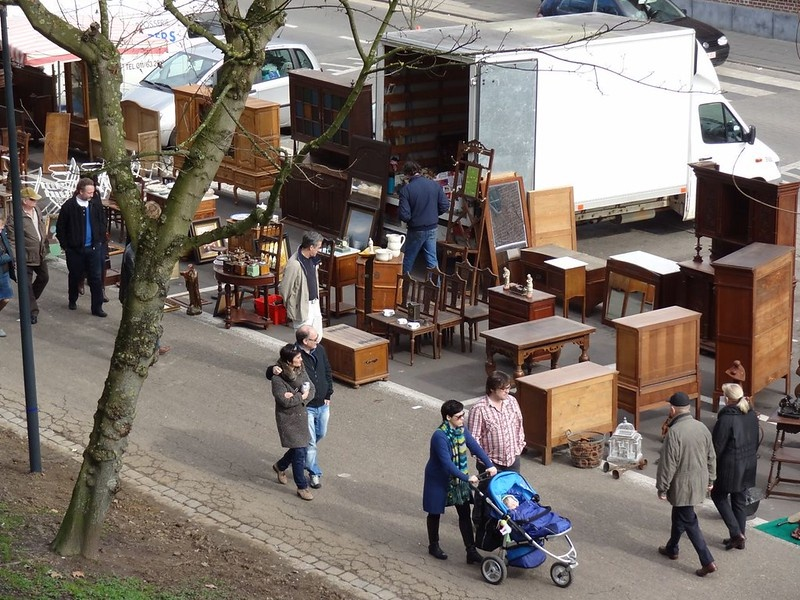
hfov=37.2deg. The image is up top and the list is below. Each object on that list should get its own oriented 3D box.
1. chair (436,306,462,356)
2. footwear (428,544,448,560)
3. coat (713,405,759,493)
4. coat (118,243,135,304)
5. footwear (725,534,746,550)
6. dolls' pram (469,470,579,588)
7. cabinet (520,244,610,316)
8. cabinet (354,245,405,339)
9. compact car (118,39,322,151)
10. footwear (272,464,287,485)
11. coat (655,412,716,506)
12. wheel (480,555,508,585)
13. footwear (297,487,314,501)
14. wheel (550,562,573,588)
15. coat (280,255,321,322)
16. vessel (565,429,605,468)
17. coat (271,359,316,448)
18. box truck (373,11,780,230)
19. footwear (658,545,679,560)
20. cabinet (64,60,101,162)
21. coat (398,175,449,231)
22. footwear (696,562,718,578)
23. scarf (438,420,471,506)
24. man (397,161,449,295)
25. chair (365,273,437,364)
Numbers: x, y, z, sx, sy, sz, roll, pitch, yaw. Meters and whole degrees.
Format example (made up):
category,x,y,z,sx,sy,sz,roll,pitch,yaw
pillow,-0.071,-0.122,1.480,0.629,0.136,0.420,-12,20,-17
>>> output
category,x,y,z,sx,sy,sz,roll,pitch,yaw
chair,0.754,0.529,18.124,0.492,0.636,0.665,-4,11,-17
footwear,0.427,2.850,13.321,0.251,0.184,0.110,5,11,37
coat,3.833,1.719,13.540,0.616,0.997,0.231,3,5,-15
coat,-3.929,-0.300,17.294,0.215,0.935,0.429,-2,-24,-12
footwear,3.806,2.801,13.571,0.115,0.114,0.260,-24,11,-20
dolls' pram,1.420,2.526,13.047,1.154,1.144,0.864,6,8,34
cabinet,2.772,-0.472,19.442,0.942,0.907,1.719,-16,27,-27
cabinet,-0.311,-0.072,18.775,0.726,1.253,0.644,2,22,8
compact car,-3.776,-4.374,26.727,4.479,1.954,2.389,-13,25,-38
footwear,-1.466,2.197,14.682,0.110,0.269,0.127,-19,7,20
coat,3.202,1.794,13.200,0.639,1.022,0.348,5,5,9
wheel,1.034,2.964,12.935,0.245,0.254,0.095,-28,-14,31
footwear,-1.107,2.358,14.372,0.096,0.118,0.246,-15,20,-42
wheel,1.767,3.012,12.923,0.212,0.217,0.083,41,30,27
coat,-1.400,-0.112,16.647,0.535,1.037,0.294,4,5,-7
vessel,2.370,1.927,15.243,0.416,0.328,0.463,-1,3,3
coat,-1.275,1.288,14.037,0.436,0.952,0.208,2,6,-22
box truck,3.850,-3.256,22.941,6.831,3.632,3.208,-9,17,-23
footwear,3.037,2.883,13.441,0.098,0.109,0.233,-18,30,-23
cabinet,-7.112,-4.210,25.930,0.592,2.118,0.738,-1,8,11
coat,0.403,-1.565,19.778,0.827,0.786,0.473,-9,23,-20
footwear,3.400,3.003,13.124,0.103,0.136,0.275,-39,10,-32
scarf,0.615,1.820,13.036,0.421,0.948,0.279,4,5,-6
man,0.396,-1.184,19.984,0.815,2.317,0.734,-4,24,-7
chair,0.016,0.335,17.876,0.628,1.187,1.053,-8,16,-38
